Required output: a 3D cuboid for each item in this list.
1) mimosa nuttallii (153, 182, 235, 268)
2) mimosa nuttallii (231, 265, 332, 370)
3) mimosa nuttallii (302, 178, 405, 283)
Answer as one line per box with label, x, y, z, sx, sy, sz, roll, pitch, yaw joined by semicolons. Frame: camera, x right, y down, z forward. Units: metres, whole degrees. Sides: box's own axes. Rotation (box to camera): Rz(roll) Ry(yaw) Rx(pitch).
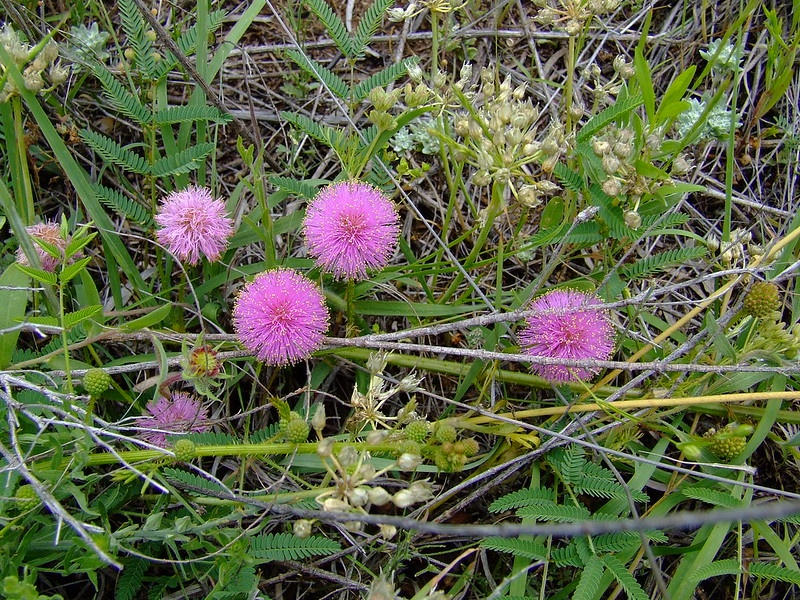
mimosa nuttallii;-0.842;-0.308;2.834;0.311;0.139;0.298;42;71;14
mimosa nuttallii;-0.503;0.161;2.811;0.311;0.315;0.206;8;75;-32
mimosa nuttallii;-0.207;-0.185;3.079;0.383;0.714;0.433;-1;65;-2
